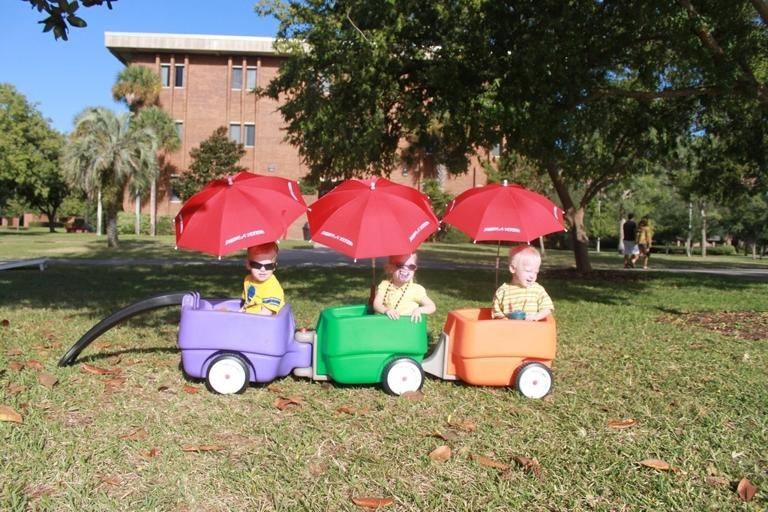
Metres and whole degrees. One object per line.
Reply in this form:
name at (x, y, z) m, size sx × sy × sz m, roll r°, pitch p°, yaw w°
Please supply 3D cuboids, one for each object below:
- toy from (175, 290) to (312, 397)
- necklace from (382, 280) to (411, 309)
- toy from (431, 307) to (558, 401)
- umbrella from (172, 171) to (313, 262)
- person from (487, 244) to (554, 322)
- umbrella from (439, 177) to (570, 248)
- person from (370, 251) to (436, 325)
toy at (-1.991, 1.293, 9.623) m, size 1.588 × 1.186 × 1.176 m, roll 4°, pitch -5°, yaw -5°
necklace at (0.170, 0.609, 9.727) m, size 0.461 × 0.491 × 0.288 m, roll 7°, pitch -4°, yaw 2°
toy at (1.557, 1.435, 9.580) m, size 1.493 × 1.041 × 1.060 m, roll 2°, pitch -3°, yaw -3°
umbrella at (-1.965, -0.531, 9.253) m, size 1.685 × 1.044 × 0.768 m, roll 0°, pitch 2°, yaw -14°
person at (2.007, 0.466, 9.633) m, size 0.834 × 1.243 × 0.703 m, roll 0°, pitch 10°, yaw 6°
umbrella at (1.763, -0.644, 9.795) m, size 1.688 × 0.941 × 0.834 m, roll 1°, pitch 2°, yaw 7°
person at (0.268, 0.536, 9.562) m, size 0.821 × 1.323 × 0.740 m, roll 5°, pitch 9°, yaw 19°
